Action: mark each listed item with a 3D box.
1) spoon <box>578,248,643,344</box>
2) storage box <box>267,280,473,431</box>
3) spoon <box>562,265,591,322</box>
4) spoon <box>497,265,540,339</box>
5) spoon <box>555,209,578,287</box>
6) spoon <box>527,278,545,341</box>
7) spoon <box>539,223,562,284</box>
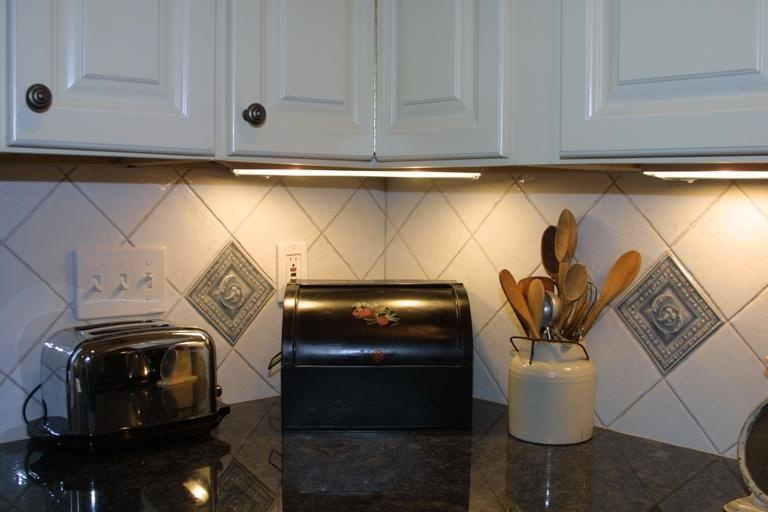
[{"bbox_3d":[0.614,0.104,1.583,0.134,0.239,0.047,-1,12,-10],"label":"spoon"},{"bbox_3d":[-0.009,0.265,1.753,0.521,0.364,0.375,0,-1,-3],"label":"storage box"},{"bbox_3d":[0.514,0.090,1.581,0.061,0.160,0.096,4,13,17],"label":"spoon"},{"bbox_3d":[0.361,0.124,1.615,0.059,0.260,0.044,-26,-13,16],"label":"spoon"},{"bbox_3d":[0.516,-0.031,1.628,0.048,0.230,0.033,2,-3,7],"label":"spoon"},{"bbox_3d":[0.409,0.140,1.575,0.045,0.155,0.072,4,13,16],"label":"spoon"},{"bbox_3d":[0.475,-0.008,1.646,0.046,0.163,0.022,-2,0,7],"label":"spoon"}]
